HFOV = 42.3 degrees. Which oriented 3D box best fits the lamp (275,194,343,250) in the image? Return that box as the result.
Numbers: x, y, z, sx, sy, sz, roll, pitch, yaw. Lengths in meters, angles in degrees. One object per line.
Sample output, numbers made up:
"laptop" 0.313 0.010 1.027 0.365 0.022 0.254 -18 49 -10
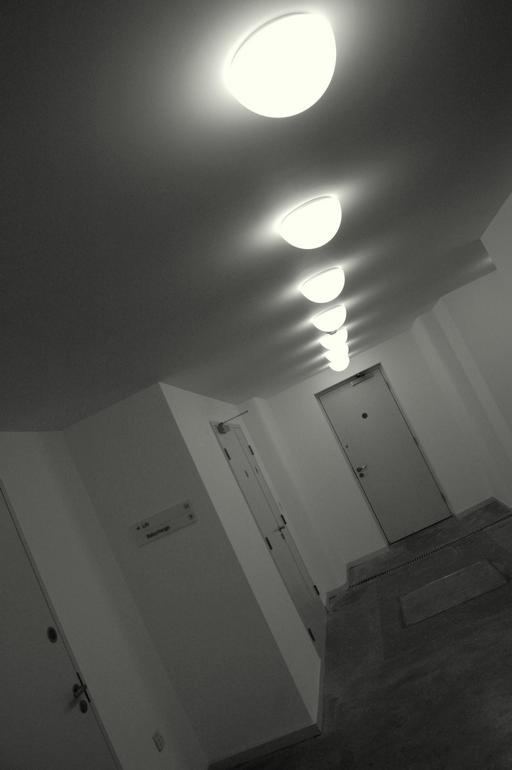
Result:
"lamp" 0.255 -0.769 2.971 0.262 0.092 0.257 -17 -20 -10
